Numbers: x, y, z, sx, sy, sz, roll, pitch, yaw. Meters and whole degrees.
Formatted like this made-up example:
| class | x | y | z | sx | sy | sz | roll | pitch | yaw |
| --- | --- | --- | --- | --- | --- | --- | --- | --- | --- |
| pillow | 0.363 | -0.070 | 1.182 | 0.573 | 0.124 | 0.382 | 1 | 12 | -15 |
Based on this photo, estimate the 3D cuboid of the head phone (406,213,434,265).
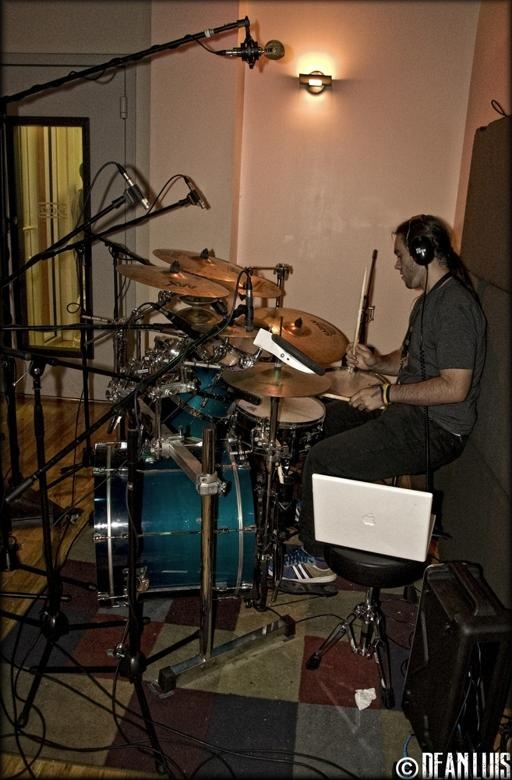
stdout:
| class | x | y | z | sx | sy | sz | roll | pitch | yaw |
| --- | --- | --- | --- | --- | --- | --- | --- | --- | --- |
| head phone | 0.545 | -0.505 | 2.151 | 0.079 | 0.189 | 0.277 | 2 | 6 | 11 |

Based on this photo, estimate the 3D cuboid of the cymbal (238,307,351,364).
| class | x | y | z | sx | sy | sz | roll | pitch | yaw |
| --- | --- | --- | --- | --- | --- | --- | --- | --- | --- |
| cymbal | 0.188 | -0.272 | 2.882 | 0.437 | 0.086 | 0.453 | 11 | -2 | 31 |

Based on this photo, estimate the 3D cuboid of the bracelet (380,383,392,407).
| class | x | y | z | sx | sy | sz | roll | pitch | yaw |
| --- | --- | --- | --- | --- | --- | --- | --- | --- | --- |
| bracelet | 0.448 | 0.017 | 2.258 | 0.030 | 0.059 | 0.053 | 2 | -7 | 0 |

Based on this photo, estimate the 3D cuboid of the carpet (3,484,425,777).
| class | x | y | z | sx | sy | sz | roll | pitch | yaw |
| --- | --- | --- | --- | --- | --- | --- | --- | --- | --- |
| carpet | -0.107 | 0.498 | 1.979 | 0.907 | 0.219 | 0.832 | 2 | 5 | 4 |

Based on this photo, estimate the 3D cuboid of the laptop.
| class | x | y | z | sx | sy | sz | roll | pitch | yaw |
| --- | --- | --- | --- | --- | --- | --- | --- | --- | --- |
| laptop | 0.336 | 0.292 | 1.781 | 0.323 | 0.230 | 0.240 | 5 | 32 | 14 |

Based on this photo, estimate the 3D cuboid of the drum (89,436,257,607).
| class | x | y | z | sx | sy | sz | roll | pitch | yaw |
| --- | --- | --- | --- | --- | --- | --- | --- | --- | --- |
| drum | -0.247 | 0.444 | 2.263 | 0.564 | 0.557 | 0.574 | -2 | 4 | -1 |

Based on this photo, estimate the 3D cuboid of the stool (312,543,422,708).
| class | x | y | z | sx | sy | sz | roll | pitch | yaw |
| --- | --- | --- | --- | --- | --- | --- | --- | --- | --- |
| stool | 0.360 | 0.702 | 2.049 | 0.294 | 0.395 | 0.268 | 12 | 6 | 25 |

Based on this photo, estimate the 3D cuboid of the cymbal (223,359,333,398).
| class | x | y | z | sx | sy | sz | roll | pitch | yaw |
| --- | --- | --- | --- | --- | --- | --- | --- | --- | --- |
| cymbal | 0.075 | -0.030 | 2.391 | 0.222 | 0.050 | 0.224 | 14 | 20 | 8 |

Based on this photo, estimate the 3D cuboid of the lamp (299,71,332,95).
| class | x | y | z | sx | sy | sz | roll | pitch | yaw |
| --- | --- | --- | --- | --- | --- | --- | --- | --- | --- |
| lamp | 0.347 | -1.762 | 3.691 | 0.193 | 0.113 | 0.119 | 1 | 6 | 5 |

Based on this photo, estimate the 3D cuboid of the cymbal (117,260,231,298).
| class | x | y | z | sx | sy | sz | roll | pitch | yaw |
| --- | --- | --- | --- | --- | --- | --- | --- | --- | --- |
| cymbal | -0.282 | -0.391 | 2.344 | 0.243 | 0.049 | 0.239 | 5 | 27 | -32 |
